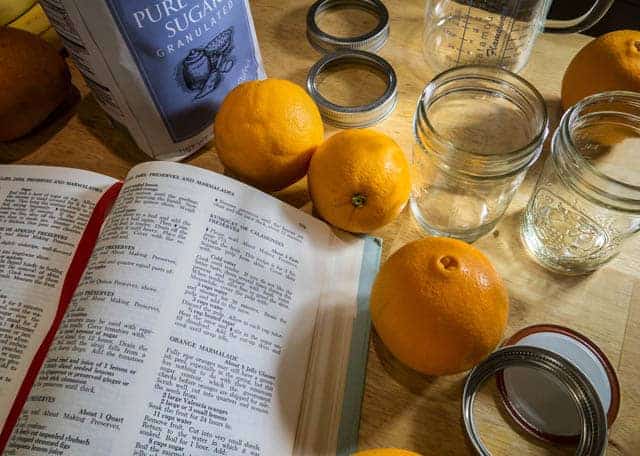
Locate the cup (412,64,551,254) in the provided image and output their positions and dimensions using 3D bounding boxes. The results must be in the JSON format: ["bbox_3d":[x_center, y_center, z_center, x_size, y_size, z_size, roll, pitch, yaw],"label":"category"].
[{"bbox_3d":[0.172,-0.098,0.736,0.158,0.219,0.220,-2,57,4],"label":"cup"}]

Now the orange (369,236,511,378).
[{"bbox_3d":[0.142,0.079,0.654,0.137,0.140,0.137,-39,64,-19],"label":"orange"}]

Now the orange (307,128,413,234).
[{"bbox_3d":[0.049,-0.061,0.629,0.104,0.123,0.120,1,41,4],"label":"orange"}]

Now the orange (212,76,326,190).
[{"bbox_3d":[-0.067,-0.111,0.730,0.117,0.123,0.145,1,82,8],"label":"orange"}]
